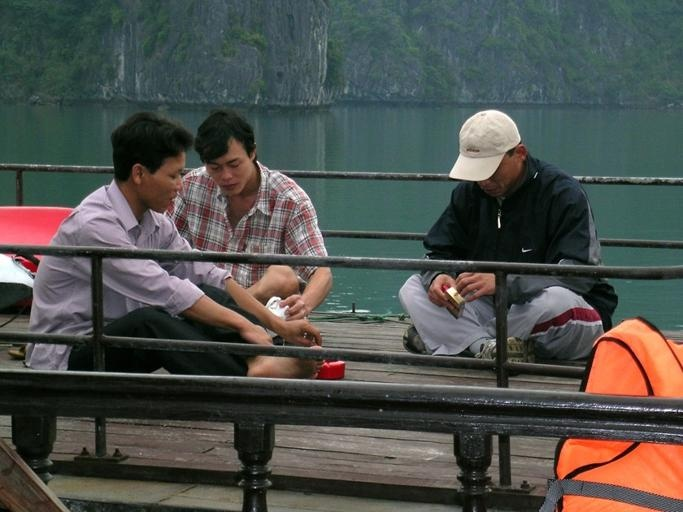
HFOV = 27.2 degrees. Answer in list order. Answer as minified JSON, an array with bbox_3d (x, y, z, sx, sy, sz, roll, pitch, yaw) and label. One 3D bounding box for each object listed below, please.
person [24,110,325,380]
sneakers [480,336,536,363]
[{"bbox_3d":[-0.925,-0.002,7.763,1.738,1.382,0.799,8,18,4],"label":"person"},{"bbox_3d":[0.949,0.558,8.249,0.167,0.191,0.478,-1,-7,13],"label":"sneakers"}]
